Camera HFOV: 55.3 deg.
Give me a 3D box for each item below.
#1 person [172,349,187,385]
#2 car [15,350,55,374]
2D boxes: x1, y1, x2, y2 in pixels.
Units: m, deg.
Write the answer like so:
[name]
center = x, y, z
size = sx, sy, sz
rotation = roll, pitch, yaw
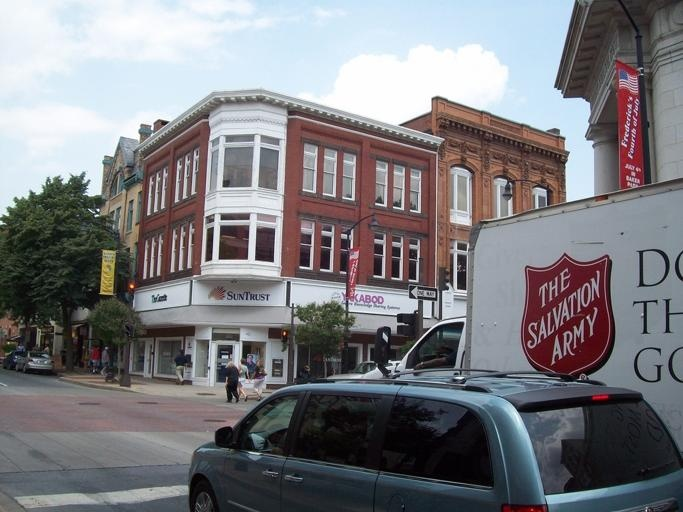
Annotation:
[person]
center = -8.771, 6.072, 35.754
size = 0.723, 1.627, 2.324
rotation = -13, -3, -16
[car]
center = -19.794, 7.007, 42.316
size = 1.732, 1.277, 3.672
rotation = -12, -4, -31
